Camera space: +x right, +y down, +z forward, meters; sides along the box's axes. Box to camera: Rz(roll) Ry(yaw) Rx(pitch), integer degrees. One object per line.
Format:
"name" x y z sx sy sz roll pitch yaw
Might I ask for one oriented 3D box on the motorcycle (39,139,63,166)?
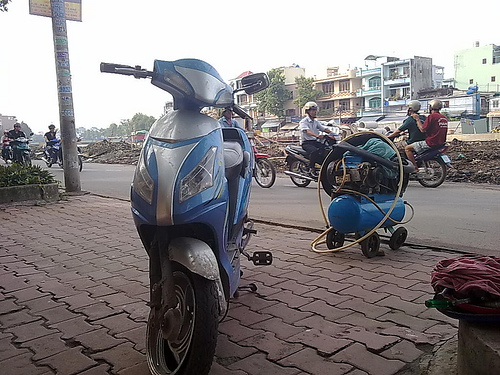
"motorcycle" -10.056 -1.792 18.524 0.681 1.299 3.429 -6 10 -31

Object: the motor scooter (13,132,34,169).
"motor scooter" -10.398 -1.650 16.700 1.010 1.505 2.355 -9 10 -40

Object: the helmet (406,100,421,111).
"helmet" 4.782 -2.406 10.736 0.371 0.291 0.280 -1 14 25

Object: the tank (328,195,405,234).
"tank" 1.500 0.282 4.762 0.923 0.420 0.457 -5 5 -23

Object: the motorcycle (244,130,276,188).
"motorcycle" 0.368 -0.555 11.286 0.812 0.985 1.537 -5 7 -25

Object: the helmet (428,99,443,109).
"helmet" 5.344 -2.411 10.624 0.283 0.279 0.380 -10 12 -29

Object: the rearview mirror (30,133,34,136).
"rearview mirror" -10.670 -2.610 17.885 0.111 0.128 0.225 -1 4 -8

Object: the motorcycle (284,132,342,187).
"motorcycle" 1.870 -0.782 10.383 0.831 1.508 2.299 -8 4 -37

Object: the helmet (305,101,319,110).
"helmet" 1.707 -2.322 10.373 0.322 0.166 0.221 4 10 42
